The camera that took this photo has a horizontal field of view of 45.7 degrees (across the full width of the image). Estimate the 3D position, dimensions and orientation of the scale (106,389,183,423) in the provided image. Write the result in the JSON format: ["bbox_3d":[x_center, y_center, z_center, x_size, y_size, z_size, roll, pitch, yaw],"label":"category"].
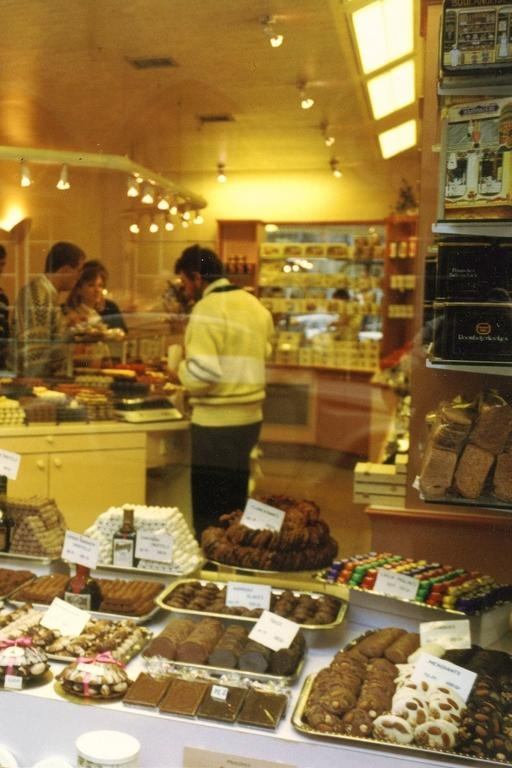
[{"bbox_3d":[-0.474,0.110,2.671,0.183,0.077,0.220,-5,8,-32],"label":"scale"}]
